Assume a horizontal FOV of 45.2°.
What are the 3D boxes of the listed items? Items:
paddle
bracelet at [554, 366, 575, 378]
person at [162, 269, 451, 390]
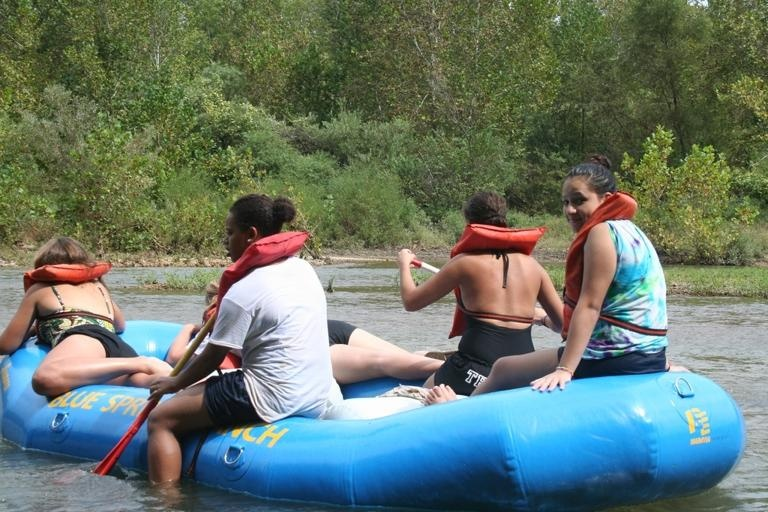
[{"bbox_3d":[-2.726,1.676,10.830,0.129,2.282,0.247,40,0,-25],"label":"paddle"},{"bbox_3d":[1.871,1.199,9.685,0.178,0.131,0.102,2,12,11],"label":"bracelet"},{"bbox_3d":[-0.517,1.032,11.705,2.387,0.814,1.540,8,3,18],"label":"person"}]
